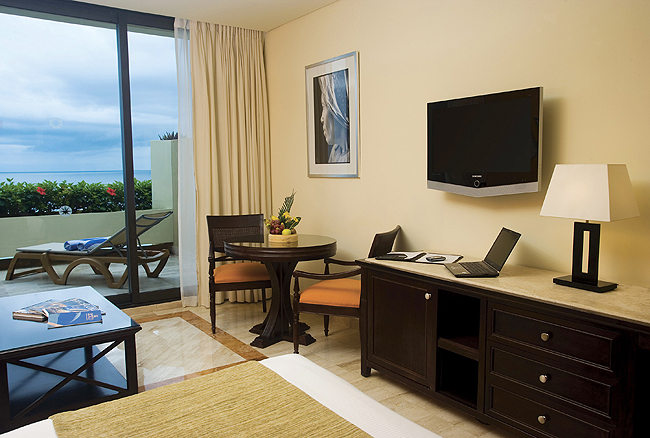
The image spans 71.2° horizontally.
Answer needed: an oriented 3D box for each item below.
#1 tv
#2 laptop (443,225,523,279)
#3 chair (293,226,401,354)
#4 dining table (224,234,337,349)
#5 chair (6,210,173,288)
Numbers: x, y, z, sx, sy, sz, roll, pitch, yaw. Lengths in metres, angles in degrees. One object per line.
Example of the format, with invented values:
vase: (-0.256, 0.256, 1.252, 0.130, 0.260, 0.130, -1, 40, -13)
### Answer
tv: (1.257, -0.592, 3.722, 0.096, 0.819, 1.070, -9, 11, -34)
laptop: (1.160, 0.255, 3.465, 0.567, 0.278, 0.527, -3, 5, 19)
chair: (0.074, 0.681, 4.460, 1.022, 1.054, 1.025, 5, 1, 41)
dining table: (-0.451, 0.718, 4.784, 1.153, 0.948, 1.108, 3, 5, 38)
chair: (-2.702, 0.345, 5.320, 1.403, 0.718, 0.807, 5, 0, 0)
